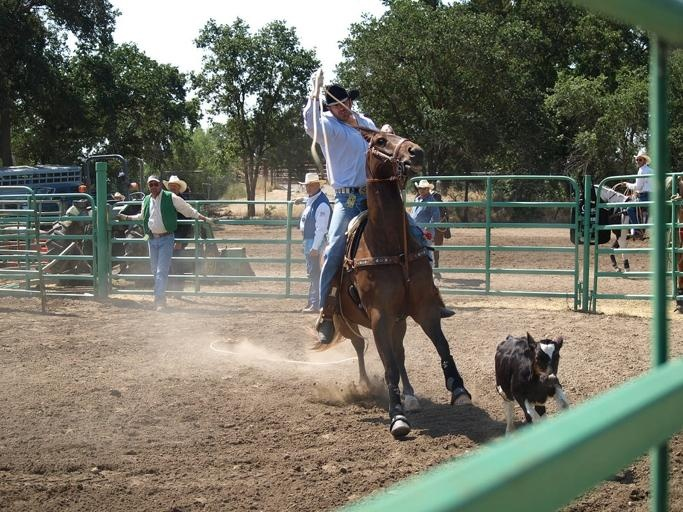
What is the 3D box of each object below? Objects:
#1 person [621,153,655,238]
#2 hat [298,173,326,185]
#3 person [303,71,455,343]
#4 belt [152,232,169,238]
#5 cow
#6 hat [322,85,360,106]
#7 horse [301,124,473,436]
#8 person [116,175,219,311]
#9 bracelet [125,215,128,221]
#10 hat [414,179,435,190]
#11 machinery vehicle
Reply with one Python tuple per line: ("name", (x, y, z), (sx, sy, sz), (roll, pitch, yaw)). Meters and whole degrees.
("person", (4.665, -0.953, 12.277), (0.543, 1.327, 0.446), (10, 14, 40))
("hat", (-0.398, -1.114, 11.075), (0.266, 0.119, 0.301), (-2, -8, 2))
("person", (0.137, -0.479, 7.344), (1.398, 2.467, 1.191), (-6, 4, 20))
("belt", (-2.741, -0.304, 11.943), (0.232, 0.071, 0.077), (-1, 2, -10))
("cow", (1.536, 1.074, 6.350), (0.375, 0.901, 0.715), (-1, 2, -14))
("hat", (0.000, -1.535, 7.417), (0.282, 0.228, 0.388), (0, 2, 28))
("horse", (0.435, 0.223, 7.169), (0.720, 2.712, 1.287), (-2, 3, -39))
("person", (-2.652, -0.200, 12.034), (0.709, 2.077, 0.494), (-1, 3, -21))
("bracelet", (-3.472, -0.602, 12.694), (0.044, 0.045, 0.035), (-1, -3, -8))
("hat", (1.423, -1.238, 13.384), (0.273, 0.110, 0.300), (8, -23, 7))
("machinery vehicle", (-3.304, -0.632, 13.478), (3.758, 2.489, 2.095), (-2, 4, -15))
